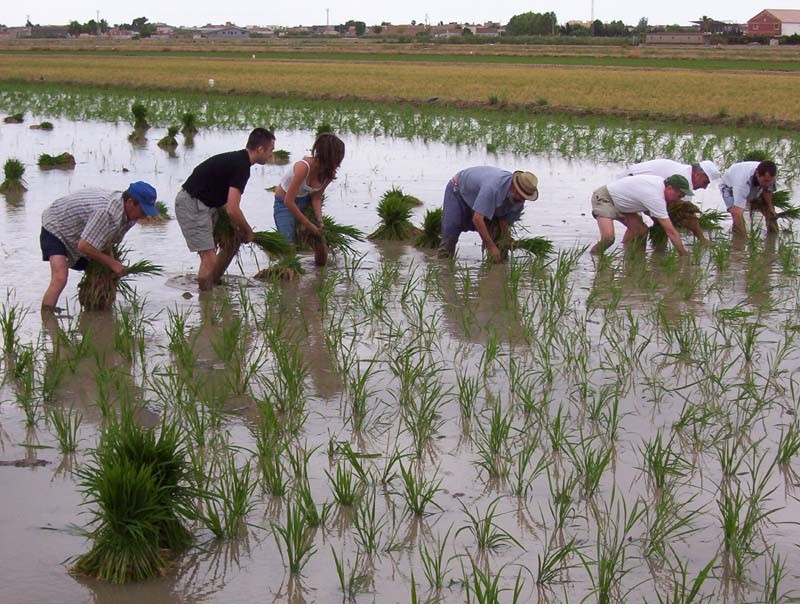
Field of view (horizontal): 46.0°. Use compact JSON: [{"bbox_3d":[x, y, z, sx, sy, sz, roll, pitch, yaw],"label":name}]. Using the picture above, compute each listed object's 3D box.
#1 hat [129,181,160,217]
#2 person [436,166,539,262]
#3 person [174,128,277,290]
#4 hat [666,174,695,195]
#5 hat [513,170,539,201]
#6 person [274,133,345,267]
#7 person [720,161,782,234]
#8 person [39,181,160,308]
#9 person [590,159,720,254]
[{"bbox_3d":[-2.302,-0.921,8.423,0.245,0.286,0.293,-2,9,-18],"label":"hat"},{"bbox_3d":[0.971,-0.992,10.717,1.242,1.095,0.686,16,18,41],"label":"person"},{"bbox_3d":[-1.829,-0.873,9.713,0.926,2.003,0.641,5,23,-8],"label":"person"},{"bbox_3d":[3.085,-1.313,10.506,0.255,0.144,0.180,29,16,-10],"label":"hat"},{"bbox_3d":[1.291,-1.231,10.029,0.108,0.311,0.259,-20,3,40],"label":"hat"},{"bbox_3d":[-1.015,-1.102,10.265,0.686,1.453,1.181,-1,9,-9],"label":"person"},{"bbox_3d":[4.424,-1.319,11.901,0.687,0.921,0.868,1,9,7],"label":"person"},{"bbox_3d":[-2.862,-0.495,9.055,0.824,1.184,0.648,29,32,-9],"label":"person"},{"bbox_3d":[2.847,-1.103,10.955,1.624,1.047,1.245,-8,12,-42],"label":"person"}]
